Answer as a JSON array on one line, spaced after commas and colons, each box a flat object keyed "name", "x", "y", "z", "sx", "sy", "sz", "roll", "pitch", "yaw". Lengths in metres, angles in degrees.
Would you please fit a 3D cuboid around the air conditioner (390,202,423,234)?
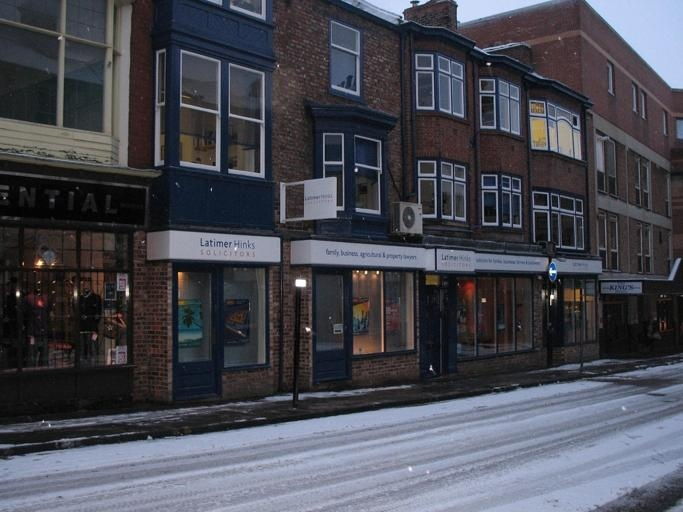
[{"name": "air conditioner", "x": 1.996, "y": -1.176, "z": 28.166, "sx": 1.006, "sy": 0.979, "sz": 0.386, "roll": 4, "pitch": -6, "yaw": -41}]
